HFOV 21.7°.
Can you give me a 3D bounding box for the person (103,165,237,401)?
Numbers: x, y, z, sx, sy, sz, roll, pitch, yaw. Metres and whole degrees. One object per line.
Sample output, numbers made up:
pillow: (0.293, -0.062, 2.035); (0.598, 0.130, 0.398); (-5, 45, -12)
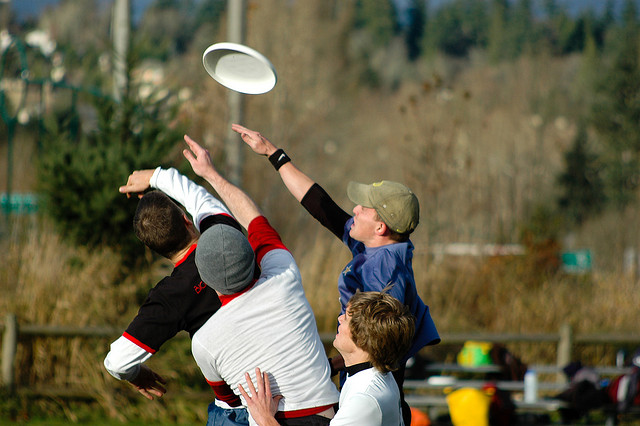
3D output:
person: (-1.843, 0.861, 20.657); (1.061, 1.269, 2.398); (41, -3, 33)
